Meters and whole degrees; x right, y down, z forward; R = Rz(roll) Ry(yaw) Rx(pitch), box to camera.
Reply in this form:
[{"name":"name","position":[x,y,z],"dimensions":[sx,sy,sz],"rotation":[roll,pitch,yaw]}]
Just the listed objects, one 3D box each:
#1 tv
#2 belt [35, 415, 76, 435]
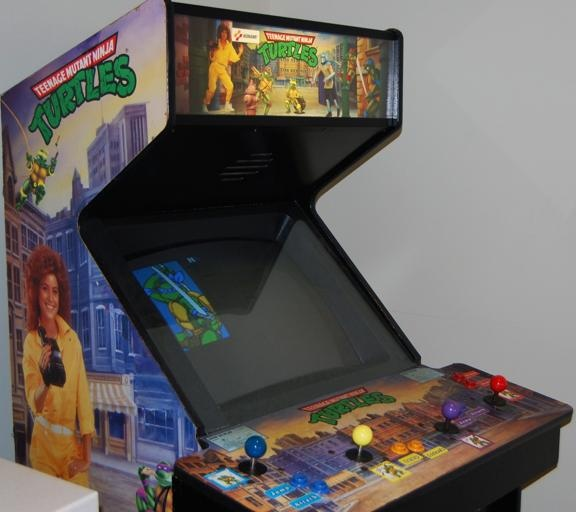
[{"name":"tv","position":[-0.086,0.181,1.512],"dimensions":[0.715,0.630,0.180],"rotation":[-16,-27,-40]},{"name":"belt","position":[-0.705,0.510,1.512],"dimensions":[0.075,0.022,0.075],"rotation":[19,-17,45]}]
